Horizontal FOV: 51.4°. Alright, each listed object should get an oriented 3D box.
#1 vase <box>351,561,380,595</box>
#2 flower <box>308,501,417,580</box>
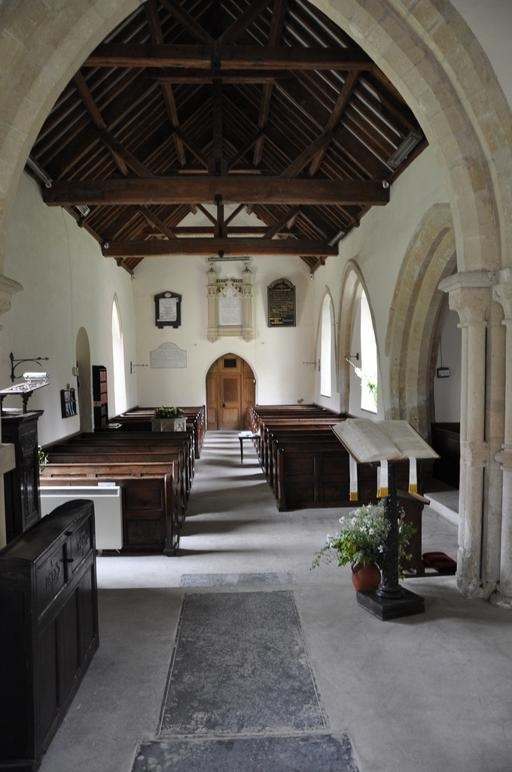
[{"bbox_3d":[0.655,1.130,3.156,0.166,0.223,0.180,-3,2,-3],"label":"vase"},{"bbox_3d":[0.737,0.906,3.413,0.686,0.526,0.656,-2,-7,43],"label":"flower"}]
